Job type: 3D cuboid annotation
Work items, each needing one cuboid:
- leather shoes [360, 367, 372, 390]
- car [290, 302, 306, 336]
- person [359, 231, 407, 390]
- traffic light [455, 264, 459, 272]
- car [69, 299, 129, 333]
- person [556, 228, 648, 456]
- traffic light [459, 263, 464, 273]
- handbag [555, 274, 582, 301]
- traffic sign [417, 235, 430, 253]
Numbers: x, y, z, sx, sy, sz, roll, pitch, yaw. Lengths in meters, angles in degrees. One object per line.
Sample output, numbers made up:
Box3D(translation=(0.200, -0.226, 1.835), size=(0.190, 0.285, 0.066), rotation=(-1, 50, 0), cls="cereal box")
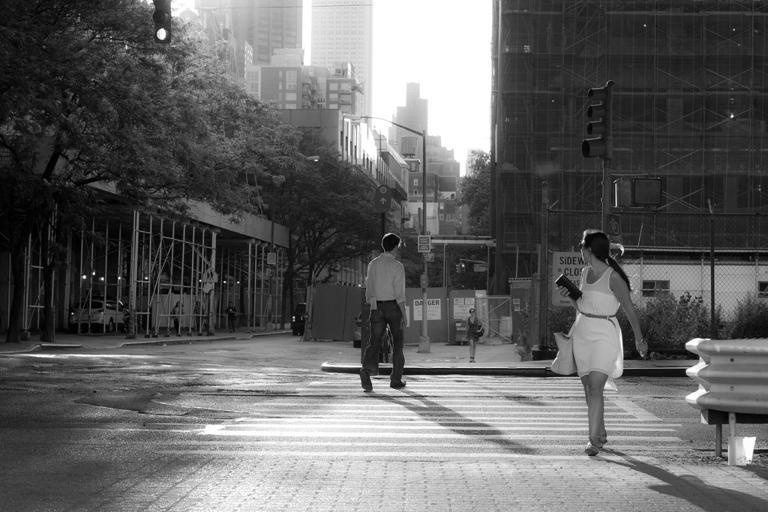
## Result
Box3D(translation=(-0.329, 2.303, 18.313), size=(0.162, 0.482, 0.180), rotation=(-6, 5, 8), cls="leather shoes")
Box3D(translation=(-4.498, 3.433, 52.275), size=(1.007, 1.066, 2.272), rotation=(1, 2, 4), cls="car")
Box3D(translation=(0.008, 1.056, 18.388), size=(0.807, 2.899, 0.822), rotation=(1, -2, -1), cls="person")
Box3D(translation=(7.445, 1.247, 100.057), size=(0.490, 0.992, 0.954), rotation=(2, -5, 1), cls="traffic light")
Box3D(translation=(-13.289, 2.813, 46.496), size=(1.390, 1.115, 3.174), rotation=(0, 2, 0), cls="car")
Box3D(translation=(2.832, 1.134, 13.248), size=(1.157, 2.973, 0.823), rotation=(0, -2, 10), cls="person")
Box3D(translation=(7.969, 1.371, 100.295), size=(0.790, 0.850, 0.606), rotation=(2, 4, 13), cls="traffic light")
Box3D(translation=(2.514, 0.369, 13.288), size=(0.089, 0.332, 0.335), rotation=(-40, -4, -24), cls="handbag")
Box3D(translation=(1.409, -0.393, 34.341), size=(0.650, 0.495, 0.882), rotation=(2, -1, 2), cls="traffic sign")
